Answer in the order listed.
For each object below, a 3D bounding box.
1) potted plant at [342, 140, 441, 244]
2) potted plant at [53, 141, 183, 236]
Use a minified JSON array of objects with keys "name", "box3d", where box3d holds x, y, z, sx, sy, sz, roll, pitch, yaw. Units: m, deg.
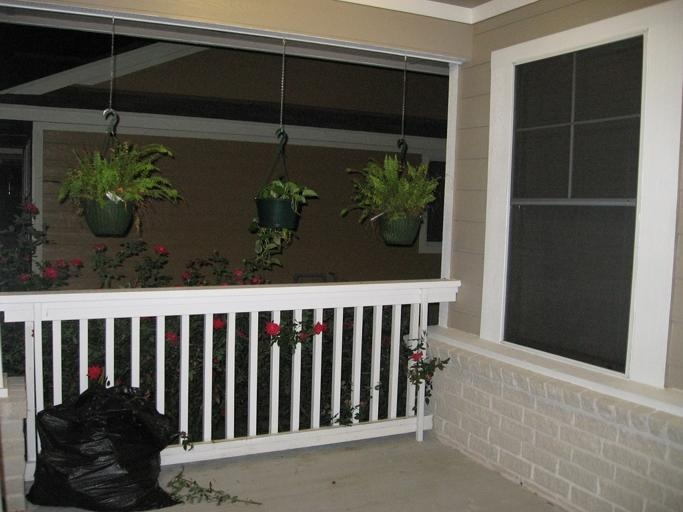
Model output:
[{"name":"potted plant","box3d":[0.344,-0.404,4.349,0.568,0.584,0.553,-14,15,-40]},{"name":"potted plant","box3d":[-1.392,-0.420,4.007,0.724,0.587,0.618,-6,-1,35]}]
